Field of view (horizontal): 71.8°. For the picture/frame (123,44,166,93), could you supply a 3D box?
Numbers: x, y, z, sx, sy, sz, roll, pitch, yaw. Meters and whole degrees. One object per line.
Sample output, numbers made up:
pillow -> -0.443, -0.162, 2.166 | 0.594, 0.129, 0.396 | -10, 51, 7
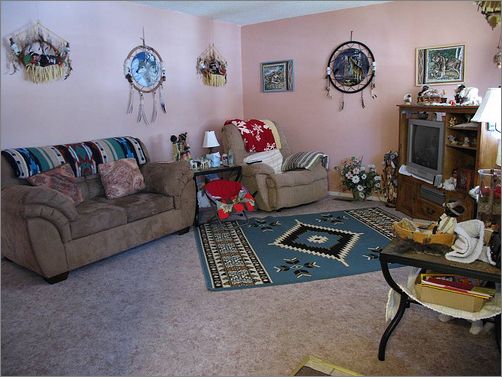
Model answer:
picture/frame -> -1.485, -1.641, 4.723 | 0.121, 0.681, 0.682 | 1, 9, 36

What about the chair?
chair -> -0.262, 0.181, 4.394 | 0.491, 0.507, 0.543 | -17, 29, -28

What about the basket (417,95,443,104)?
basket -> 2.157, -1.066, 4.188 | 0.236, 0.096, 0.150 | 11, 23, 43

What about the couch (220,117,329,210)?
couch -> 0.327, -0.497, 5.291 | 1.349, 1.376, 1.275 | -15, 20, -39

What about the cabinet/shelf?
cabinet/shelf -> 2.095, -0.287, 3.700 | 0.361, 1.278, 1.294 | -4, 9, -11

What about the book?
book -> 1.215, 0.586, 2.073 | 0.367, 0.103, 0.272 | -8, 17, -9

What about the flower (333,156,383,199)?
flower -> 1.624, -0.149, 5.312 | 0.685, 0.648, 0.443 | 1, 18, 20

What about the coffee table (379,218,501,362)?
coffee table -> 1.148, 0.494, 2.294 | 0.783, 0.688, 0.661 | 12, 29, 25
